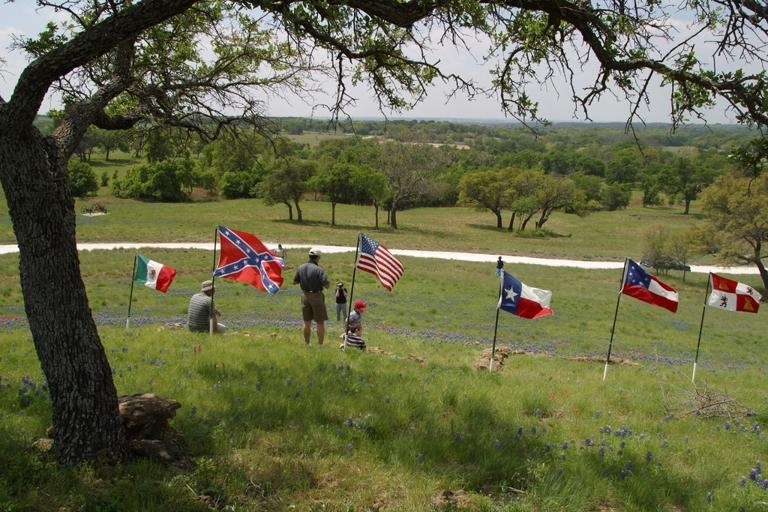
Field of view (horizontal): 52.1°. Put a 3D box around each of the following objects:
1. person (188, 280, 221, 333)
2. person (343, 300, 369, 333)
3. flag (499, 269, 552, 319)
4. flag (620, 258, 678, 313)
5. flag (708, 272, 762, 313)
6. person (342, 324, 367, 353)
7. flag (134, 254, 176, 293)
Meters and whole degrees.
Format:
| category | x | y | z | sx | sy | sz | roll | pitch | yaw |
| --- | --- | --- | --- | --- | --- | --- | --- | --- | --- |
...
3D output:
| category | x | y | z | sx | sy | sz | roll | pitch | yaw |
| --- | --- | --- | --- | --- | --- | --- | --- | --- | --- |
| person | -5.685 | 1.618 | 25.270 | 1.014 | 1.697 | 1.277 | 6 | 6 | 17 |
| person | -1.031 | 2.200 | 27.927 | 0.767 | 1.600 | 0.945 | 7 | 15 | 15 |
| flag | 5.254 | 1.474 | 29.318 | 1.820 | 1.569 | 0.504 | 14 | -15 | -16 |
| flag | 8.176 | 0.871 | 24.236 | 1.683 | 1.477 | 1.218 | 1 | 6 | -28 |
| flag | 15.273 | 1.658 | 34.216 | 2.279 | 1.817 | 0.283 | 14 | -25 | 2 |
| person | -0.950 | 2.642 | 24.697 | 0.758 | 0.670 | 1.631 | 4 | 6 | -1 |
| flag | -9.185 | 0.783 | 31.468 | 1.469 | 1.147 | 0.294 | 21 | -8 | 20 |
